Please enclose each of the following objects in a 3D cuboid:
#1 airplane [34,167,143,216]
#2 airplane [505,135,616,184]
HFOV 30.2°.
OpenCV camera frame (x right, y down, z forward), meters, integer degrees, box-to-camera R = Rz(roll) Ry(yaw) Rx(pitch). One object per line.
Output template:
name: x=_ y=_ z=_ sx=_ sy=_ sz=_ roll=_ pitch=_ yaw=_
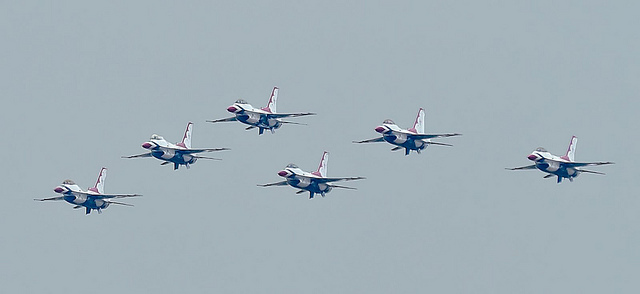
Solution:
airplane: x=-32.164 y=5.100 z=160.375 sx=14.332 sy=6.327 sz=11.292 roll=-1 pitch=-10 yaw=19
airplane: x=31.566 y=1.041 z=161.022 sx=14.633 sy=5.708 sz=14.226 roll=4 pitch=-1 yaw=35
